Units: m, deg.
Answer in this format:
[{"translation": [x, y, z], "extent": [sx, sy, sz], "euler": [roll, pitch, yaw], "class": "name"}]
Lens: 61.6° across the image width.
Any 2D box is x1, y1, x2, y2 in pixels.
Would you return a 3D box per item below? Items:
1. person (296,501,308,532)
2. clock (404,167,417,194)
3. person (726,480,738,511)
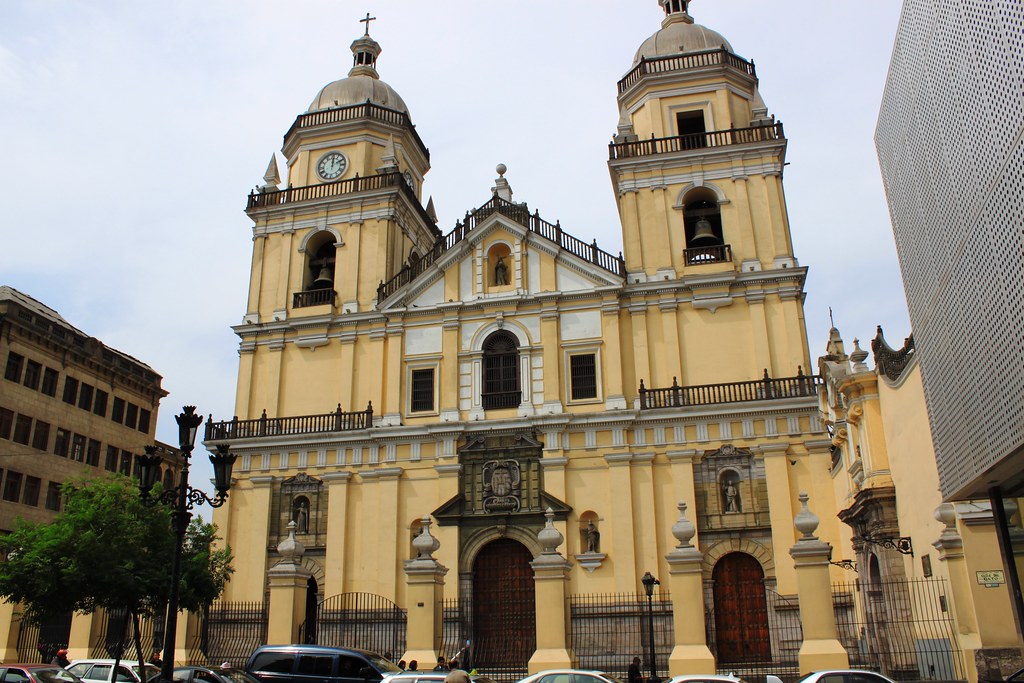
[{"translation": [-8.482, 6.967, 34.664], "extent": [0.579, 1.370, 0.229], "euler": [-1, -20, -3], "class": "person"}, {"translation": [-4.982, -7.819, 42.698], "extent": [0.261, 1.097, 1.131], "euler": [-6, -7, 10], "class": "clock"}, {"translation": [8.184, 5.731, 31.859], "extent": [0.426, 1.120, 0.186], "euler": [-7, -20, 14], "class": "person"}]
